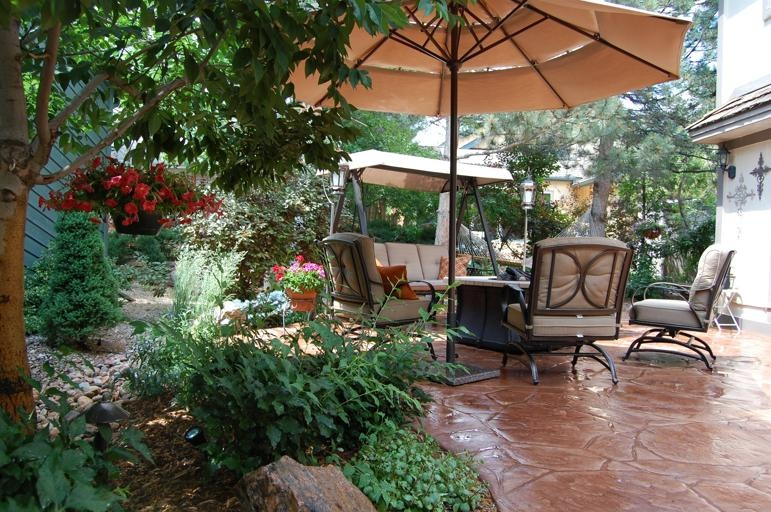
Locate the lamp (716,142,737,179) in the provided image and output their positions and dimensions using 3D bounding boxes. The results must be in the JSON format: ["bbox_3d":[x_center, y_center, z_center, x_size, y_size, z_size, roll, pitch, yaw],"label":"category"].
[{"bbox_3d":[5.603,-1.566,7.863,0.280,0.607,0.273,7,12,33],"label":"lamp"}]

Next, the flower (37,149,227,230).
[{"bbox_3d":[-1.778,-0.428,3.435,0.986,0.570,0.820,3,9,16],"label":"flower"}]

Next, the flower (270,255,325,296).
[{"bbox_3d":[-1.401,0.328,7.958,0.953,0.496,0.935,2,-3,-5],"label":"flower"}]

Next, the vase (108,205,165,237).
[{"bbox_3d":[-1.915,-0.250,3.698,0.310,0.118,0.348,1,-6,-10],"label":"vase"}]
